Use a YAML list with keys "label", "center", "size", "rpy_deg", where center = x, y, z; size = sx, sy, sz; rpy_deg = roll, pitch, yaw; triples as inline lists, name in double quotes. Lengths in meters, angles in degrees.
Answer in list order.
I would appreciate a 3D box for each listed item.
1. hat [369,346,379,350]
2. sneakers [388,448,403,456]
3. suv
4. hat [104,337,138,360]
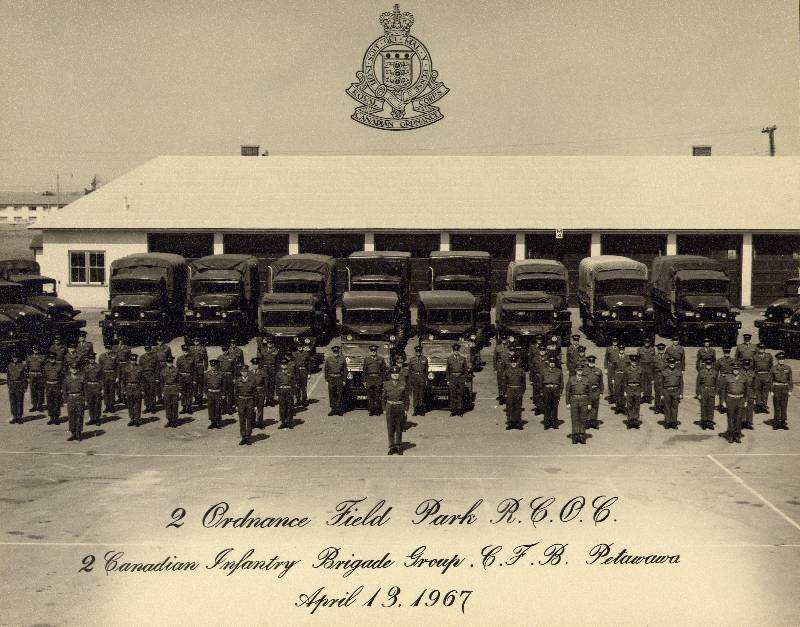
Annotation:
- label: "hat"
  center: [-0.763, 0.922, 35.516]
  size: [0.220, 0.061, 0.192]
  rpy_deg: [0, 3, 0]
- label: "sneakers"
  center: [-0.136, 3.367, 31.775]
  size: [0.365, 0.174, 0.128]
  rpy_deg: [1, -4, -2]
- label: "suv"
  center: [0.033, 1.657, 36.012]
  size: [2.913, 1.635, 4.135]
  rpy_deg: [0, 1, 2]
- label: "hat"
  center: [-8.769, 1.065, 40.228]
  size: [0.764, 0.571, 0.361]
  rpy_deg: [0, -2, -4]
